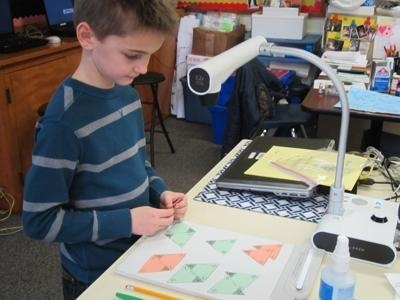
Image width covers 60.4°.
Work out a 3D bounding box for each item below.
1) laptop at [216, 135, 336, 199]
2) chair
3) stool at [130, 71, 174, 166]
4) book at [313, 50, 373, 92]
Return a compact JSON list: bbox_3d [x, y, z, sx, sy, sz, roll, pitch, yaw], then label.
[{"bbox_3d":[0.259,0.056,1.318,0.269,0.047,0.375,2,32,24],"label":"laptop"},{"bbox_3d":[0.604,-0.406,2.929,0.766,0.793,0.672,4,53,13],"label":"chair"},{"bbox_3d":[-0.415,-0.256,3.312,0.552,0.829,0.534,1,0,-24],"label":"stool"},{"bbox_3d":[1.103,-0.643,2.755,0.433,0.147,0.441,8,47,17],"label":"book"}]
